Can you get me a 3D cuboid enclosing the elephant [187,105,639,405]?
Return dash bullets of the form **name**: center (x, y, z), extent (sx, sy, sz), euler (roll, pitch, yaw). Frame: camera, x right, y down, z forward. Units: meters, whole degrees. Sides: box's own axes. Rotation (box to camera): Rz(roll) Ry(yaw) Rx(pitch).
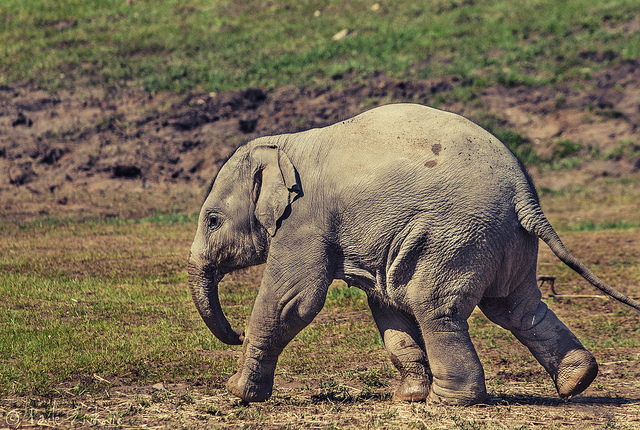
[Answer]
- **elephant**: center (1.588, 0.858, 25.817), extent (5.756, 3.211, 2.153), euler (1, 8, 17)
